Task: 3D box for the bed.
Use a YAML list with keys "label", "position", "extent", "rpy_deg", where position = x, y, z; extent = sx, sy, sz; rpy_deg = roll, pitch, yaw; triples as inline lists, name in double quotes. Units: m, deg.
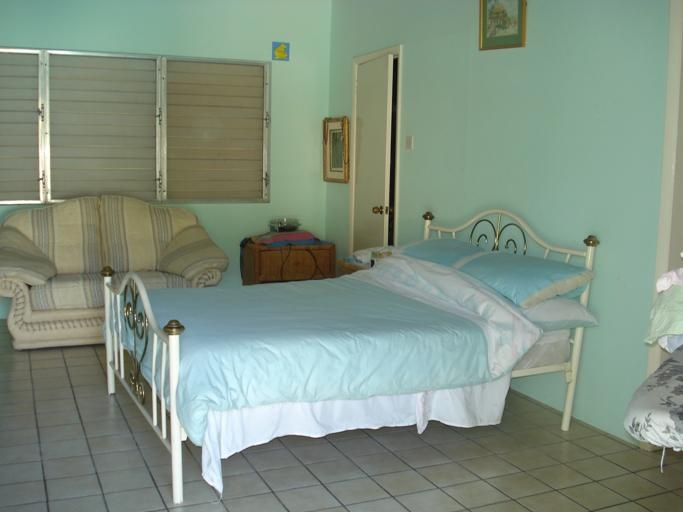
- label: "bed"
  position: [0.065, 0.404, 3.360]
  extent: [2.640, 1.288, 1.362]
  rpy_deg: [-4, 13, -25]
